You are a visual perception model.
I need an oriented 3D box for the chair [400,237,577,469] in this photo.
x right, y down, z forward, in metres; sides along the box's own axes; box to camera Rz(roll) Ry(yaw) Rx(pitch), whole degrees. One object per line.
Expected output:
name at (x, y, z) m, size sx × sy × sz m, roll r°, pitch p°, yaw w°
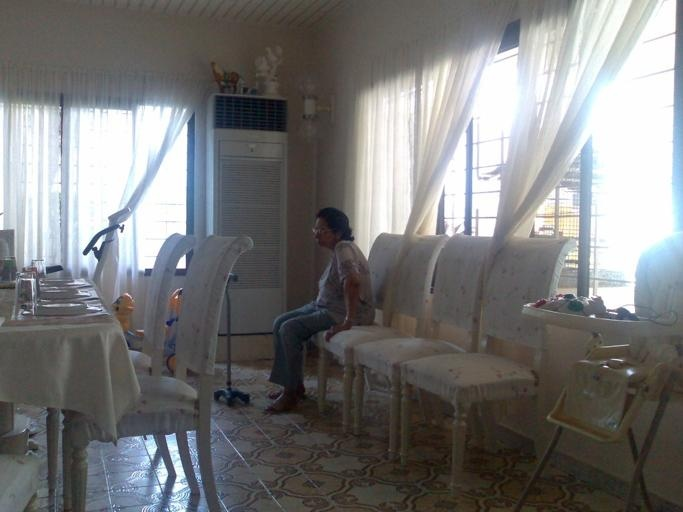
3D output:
chair at (0.829, 0.494, 2.670) m, size 0.535 × 0.897 × 0.464 m, roll -2°, pitch 15°, yaw -7°

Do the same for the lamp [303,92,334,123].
lamp at (-0.226, -1.469, 5.247) m, size 0.310 × 0.271 × 0.385 m, roll 1°, pitch 5°, yaw -6°

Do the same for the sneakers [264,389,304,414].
sneakers at (-0.380, 1.003, 3.649) m, size 0.274 × 0.210 × 0.104 m, roll 6°, pitch -3°, yaw -28°

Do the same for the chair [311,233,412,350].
chair at (0.211, 0.216, 4.135) m, size 0.644 × 1.199 × 0.569 m, roll 5°, pitch -3°, yaw -29°

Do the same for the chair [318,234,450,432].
chair at (0.365, 0.477, 3.463) m, size 0.564 × 1.068 × 0.677 m, roll 2°, pitch 15°, yaw 29°

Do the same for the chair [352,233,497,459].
chair at (0.602, 0.521, 3.060) m, size 0.524 × 1.035 × 0.635 m, roll 2°, pitch 17°, yaw 27°

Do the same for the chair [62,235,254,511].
chair at (-0.822, 0.493, 2.875) m, size 1.019 × 1.663 × 0.967 m, roll 4°, pitch -4°, yaw -24°
